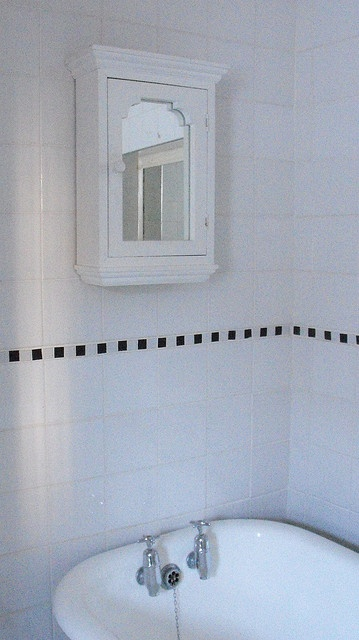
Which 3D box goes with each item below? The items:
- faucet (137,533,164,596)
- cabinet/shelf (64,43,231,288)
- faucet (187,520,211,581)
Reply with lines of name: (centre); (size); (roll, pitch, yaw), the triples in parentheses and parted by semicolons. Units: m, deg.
faucet: (-0.075, 0.696, 1.561); (0.084, 0.163, 0.048); (8, -8, -41)
cabinet/shelf: (-0.086, -0.387, 1.506); (0.477, 0.626, 0.254); (7, -7, -32)
faucet: (0.057, 0.685, 1.650); (0.069, 0.162, 0.061); (2, 6, 37)
